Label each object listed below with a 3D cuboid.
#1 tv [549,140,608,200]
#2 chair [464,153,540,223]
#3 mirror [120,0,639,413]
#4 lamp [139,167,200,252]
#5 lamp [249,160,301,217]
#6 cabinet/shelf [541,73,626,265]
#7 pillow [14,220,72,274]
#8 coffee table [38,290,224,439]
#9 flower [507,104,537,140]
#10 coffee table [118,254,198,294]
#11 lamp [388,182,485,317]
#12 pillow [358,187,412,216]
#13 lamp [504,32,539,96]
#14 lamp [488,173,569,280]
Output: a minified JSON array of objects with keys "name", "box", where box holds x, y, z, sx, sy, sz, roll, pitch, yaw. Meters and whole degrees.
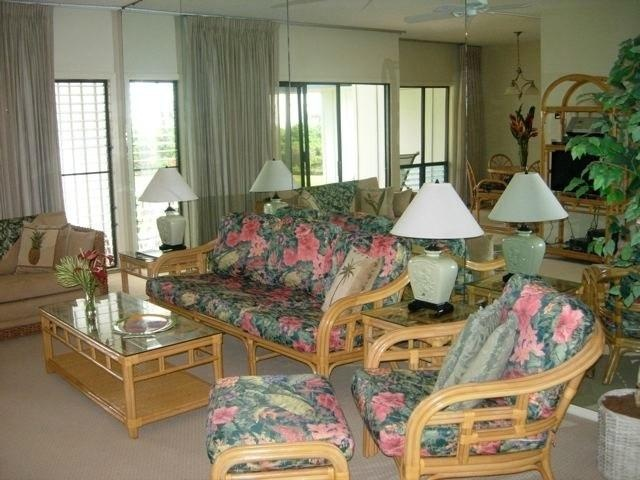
[{"name":"tv","box":[1.588,-0.413,3.203,0.102,0.309,0.362,-1,9,-34]},{"name":"chair","box":[1.165,-0.372,3.605,0.441,0.579,0.370,-9,21,-9]},{"name":"mirror","box":[1.280,-0.544,5.018,3.188,1.737,3.075,7,17,25]},{"name":"lamp","box":[-1.526,-0.308,5.352,0.619,0.786,0.592,-4,3,25]},{"name":"lamp","box":[-0.391,-0.547,5.055,0.531,0.627,0.490,10,22,26]},{"name":"cabinet/shelf","box":[1.608,-0.579,3.173,0.389,0.687,0.241,4,16,23]},{"name":"pillow","box":[-2.650,0.080,4.983,0.542,0.492,0.189,0,-21,4]},{"name":"coffee table","box":[-1.425,0.813,3.684,1.302,0.437,0.605,9,12,40]},{"name":"flower","box":[1.292,-0.749,3.336,0.199,0.159,0.191,-4,22,1]},{"name":"coffee table","box":[-1.504,0.304,4.887,0.305,0.360,0.424,11,17,41]},{"name":"lamp","box":[0.677,0.058,3.179,0.610,0.715,0.540,2,4,-22]},{"name":"pillow","box":[0.523,-0.309,4.077,0.318,0.166,0.089,7,-15,45]},{"name":"lamp","box":[1.281,-1.109,3.298,0.058,0.418,0.230,-7,15,-16]},{"name":"lamp","box":[1.341,-0.087,3.417,0.555,0.668,0.518,-3,7,-14]}]
